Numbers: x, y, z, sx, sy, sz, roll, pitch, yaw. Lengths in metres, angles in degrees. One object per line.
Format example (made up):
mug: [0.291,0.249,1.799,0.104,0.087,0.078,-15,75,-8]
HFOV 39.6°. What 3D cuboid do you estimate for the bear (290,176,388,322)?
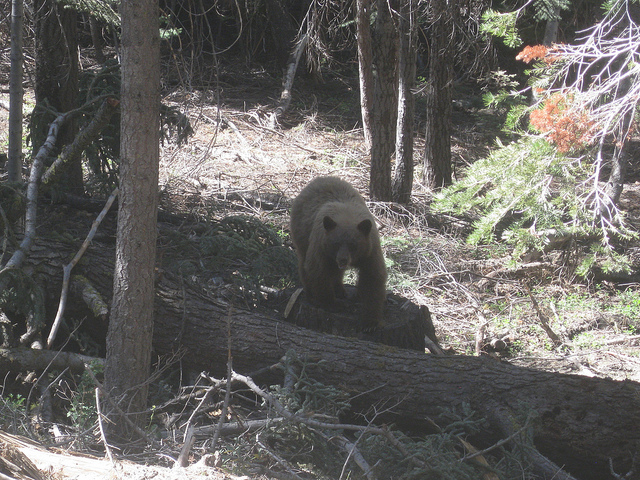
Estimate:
bear: [0.258,0.152,11.838,0.993,1.819,2.391,-5,14,-15]

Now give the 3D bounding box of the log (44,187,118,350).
log: [-2.819,0.419,10.494,0.104,2.172,0.351,6,-27,26]
